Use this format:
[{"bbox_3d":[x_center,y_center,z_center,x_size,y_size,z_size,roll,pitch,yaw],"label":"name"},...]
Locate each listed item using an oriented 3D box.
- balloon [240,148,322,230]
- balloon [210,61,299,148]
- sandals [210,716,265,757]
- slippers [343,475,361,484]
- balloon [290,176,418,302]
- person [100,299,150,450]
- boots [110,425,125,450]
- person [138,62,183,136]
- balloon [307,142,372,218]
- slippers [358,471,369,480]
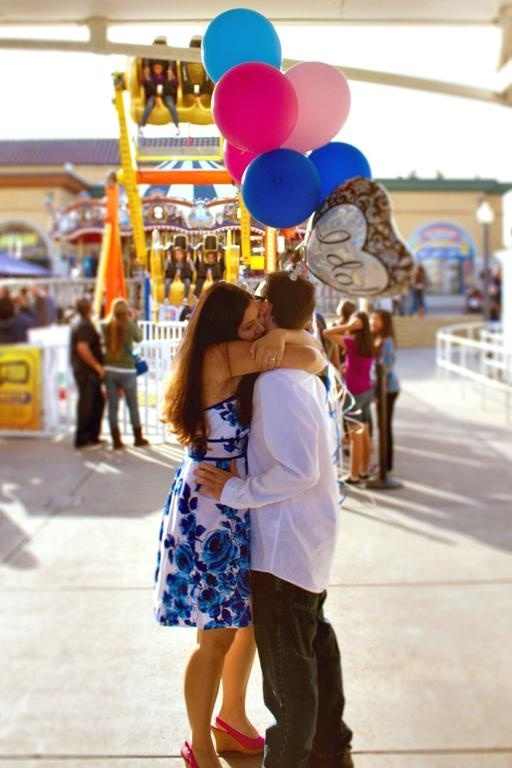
[{"bbox_3d":[0.084,-0.663,2.510,0.253,0.252,0.139,-2,15,11],"label":"balloon"},{"bbox_3d":[-0.006,-0.910,2.419,0.275,0.273,0.151,-7,18,2],"label":"balloon"},{"bbox_3d":[-0.074,1.263,2.632,0.246,0.100,0.085,7,-10,-1],"label":"sandals"},{"bbox_3d":[0.879,0.882,6.706,0.088,0.060,0.084,-1,2,4],"label":"slippers"},{"bbox_3d":[0.329,-0.473,2.405,0.196,0.371,0.498,-1,6,-38],"label":"balloon"},{"bbox_3d":[-1.525,-0.114,8.414,0.448,1.678,0.397,-2,6,-43],"label":"person"},{"bbox_3d":[-1.593,0.600,8.369,0.153,0.259,0.464,1,5,-12],"label":"boots"},{"bbox_3d":[-1.247,-3.710,9.457,0.614,0.903,0.385,3,5,11],"label":"person"},{"bbox_3d":[0.299,-0.759,2.676,0.236,0.234,0.130,-11,-3,1],"label":"balloon"},{"bbox_3d":[0.997,0.860,6.837,0.095,0.040,0.109,0,1,-3],"label":"slippers"}]
